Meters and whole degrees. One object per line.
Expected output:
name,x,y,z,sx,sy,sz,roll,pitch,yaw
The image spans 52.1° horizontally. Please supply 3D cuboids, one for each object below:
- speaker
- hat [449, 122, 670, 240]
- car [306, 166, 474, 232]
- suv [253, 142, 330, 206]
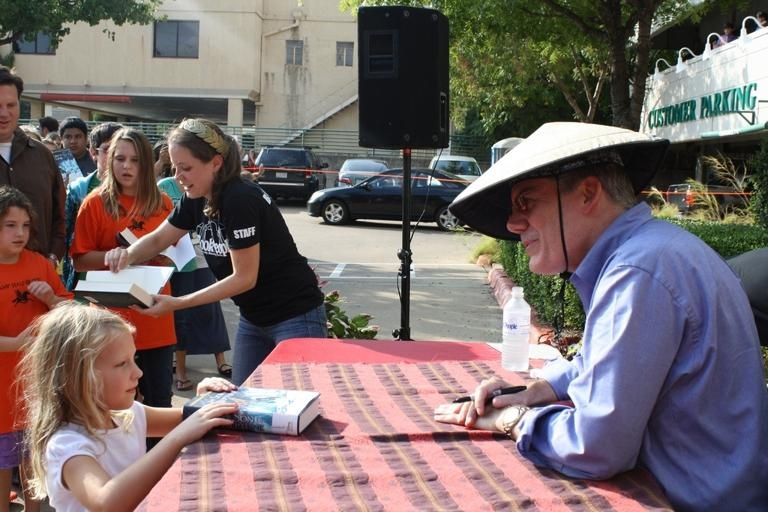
speaker,0.160,-1.536,6.817,0.809,1.185,0.233,4,6,-3
hat,0.793,-0.432,3.788,0.712,0.257,0.747,-18,-6,23
car,0.143,-1.317,18.376,3.694,1.247,1.761,3,2,4
suv,-2.623,-2.365,24.075,1.816,1.528,3.449,1,13,5
